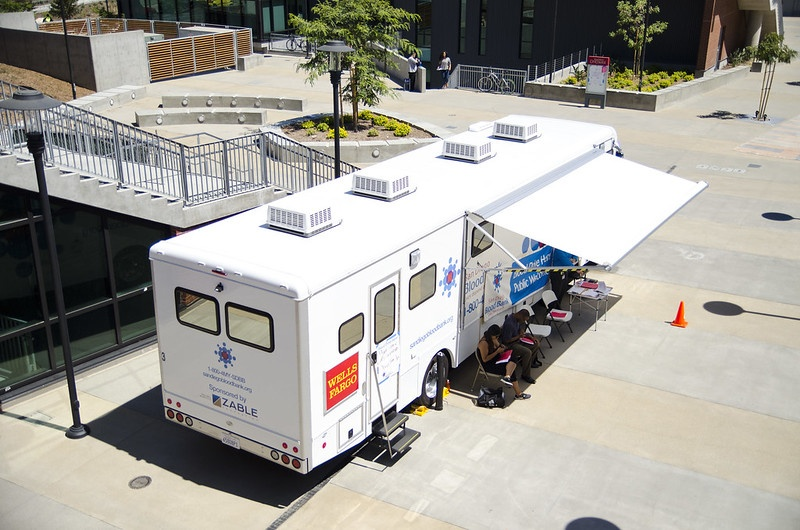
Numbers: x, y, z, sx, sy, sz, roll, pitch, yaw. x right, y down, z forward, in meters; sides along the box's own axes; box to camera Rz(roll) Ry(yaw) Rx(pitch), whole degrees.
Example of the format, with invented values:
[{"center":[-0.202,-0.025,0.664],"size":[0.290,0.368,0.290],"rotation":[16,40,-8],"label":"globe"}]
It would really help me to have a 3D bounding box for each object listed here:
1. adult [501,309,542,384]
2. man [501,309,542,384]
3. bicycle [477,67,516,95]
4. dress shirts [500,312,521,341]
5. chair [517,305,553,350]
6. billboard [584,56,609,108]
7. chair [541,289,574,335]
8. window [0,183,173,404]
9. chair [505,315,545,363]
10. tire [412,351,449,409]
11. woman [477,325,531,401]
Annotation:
[{"center":[2.455,1.586,14.891],"size":[0.776,1.401,0.735],"rotation":[11,18,18],"label":"adult"},{"center":[2.522,1.590,14.917],"size":[0.886,1.404,0.810],"rotation":[17,24,31],"label":"man"},{"center":[4.844,-9.448,36.519],"size":[1.822,1.122,0.939],"rotation":[5,21,9],"label":"bicycle"},{"center":[2.235,1.269,14.753],"size":[0.232,0.369,0.459],"rotation":[12,31,23],"label":"dress shirts"},{"center":[2.877,1.350,15.286],"size":[0.563,0.820,0.493],"rotation":[10,28,19],"label":"chair"},{"center":[8.896,-8.377,32.863],"size":[1.027,2.288,0.887],"rotation":[6,25,13],"label":"billboard"},{"center":[3.508,1.102,16.250],"size":[0.686,0.958,0.598],"rotation":[18,27,38],"label":"chair"},{"center":[-6.312,0.568,14.270],"size":[0.291,2.894,3.851],"rotation":[8,17,30],"label":"window"},{"center":[2.568,1.574,15.037],"size":[0.611,0.974,0.425],"rotation":[6,48,14],"label":"chair"},{"center":[0.739,2.269,14.197],"size":[0.380,1.051,1.022],"rotation":[10,6,-20],"label":"tire"},{"center":[2.079,2.011,14.669],"size":[0.998,1.318,0.655],"rotation":[9,44,33],"label":"woman"}]
